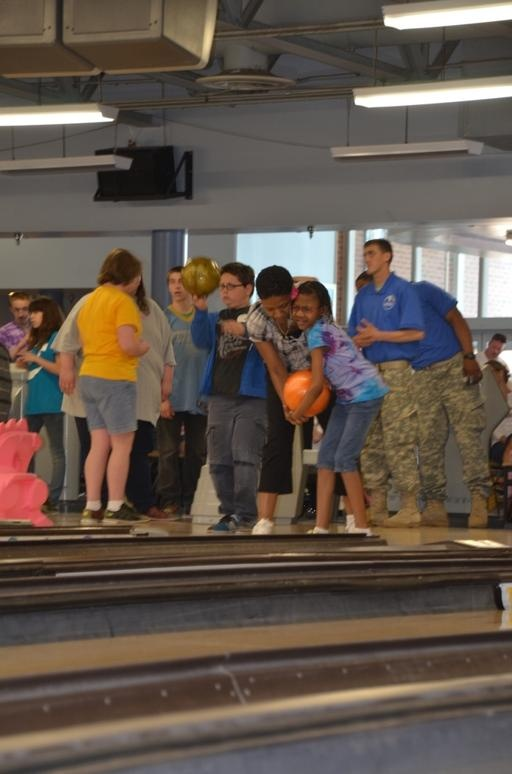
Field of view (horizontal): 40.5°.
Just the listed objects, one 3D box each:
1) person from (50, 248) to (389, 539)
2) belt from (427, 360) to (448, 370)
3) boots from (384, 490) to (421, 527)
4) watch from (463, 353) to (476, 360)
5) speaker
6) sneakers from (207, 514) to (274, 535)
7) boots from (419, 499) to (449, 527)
[{"bbox_3d":[0.068,0.024,4.036,0.628,1.543,1.298,3,2,-22],"label":"person"},{"bbox_3d":[1.282,-0.173,4.893,0.090,0.020,0.083,-16,7,-9],"label":"belt"},{"bbox_3d":[0.998,0.827,4.701,0.235,0.166,0.168,3,2,7],"label":"boots"},{"bbox_3d":[1.510,-0.224,4.893,0.071,0.039,0.068,4,11,24],"label":"watch"},{"bbox_3d":[-1.607,-2.984,9.990,1.407,0.674,0.911,0,4,7],"label":"speaker"},{"bbox_3d":[-0.029,0.767,3.894,0.467,0.151,0.143,4,-9,-8],"label":"sneakers"},{"bbox_3d":[1.254,0.879,4.823,0.180,0.140,0.238,4,2,11],"label":"boots"}]
